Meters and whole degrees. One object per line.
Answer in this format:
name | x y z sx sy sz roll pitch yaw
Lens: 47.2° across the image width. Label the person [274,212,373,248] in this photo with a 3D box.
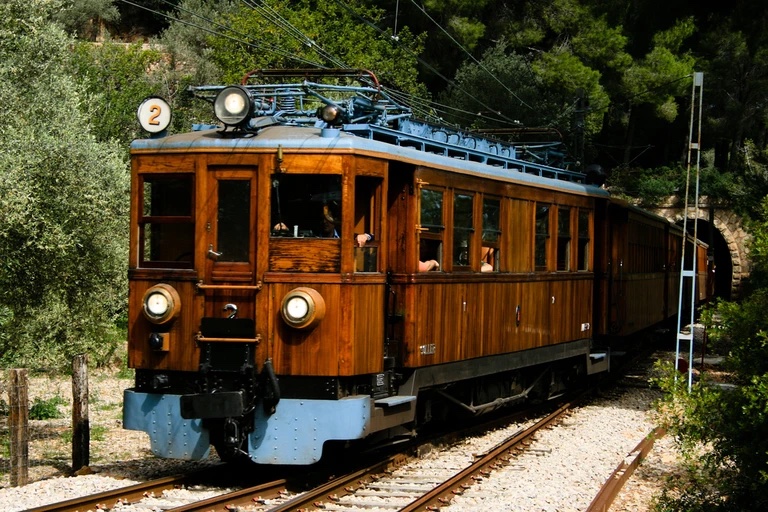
person | -0.928 -0.351 13.855 1.509 0.554 0.250 -4 8 -4
